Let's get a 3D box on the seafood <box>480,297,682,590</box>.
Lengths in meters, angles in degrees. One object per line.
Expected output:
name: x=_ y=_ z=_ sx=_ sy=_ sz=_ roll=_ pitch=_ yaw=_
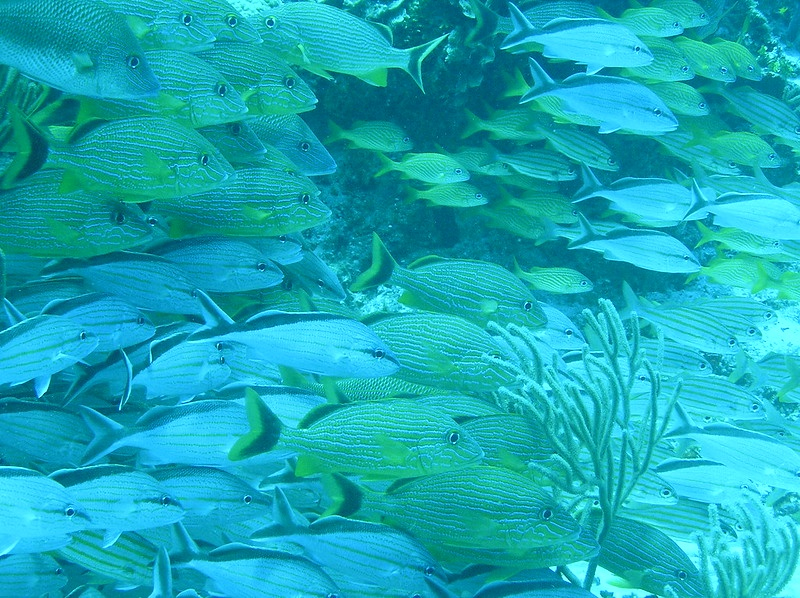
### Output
seafood: x=1.502 y=0.989 z=7.985 sx=1.358 sy=1.876 sz=1.766 roll=26 pitch=25 yaw=16
